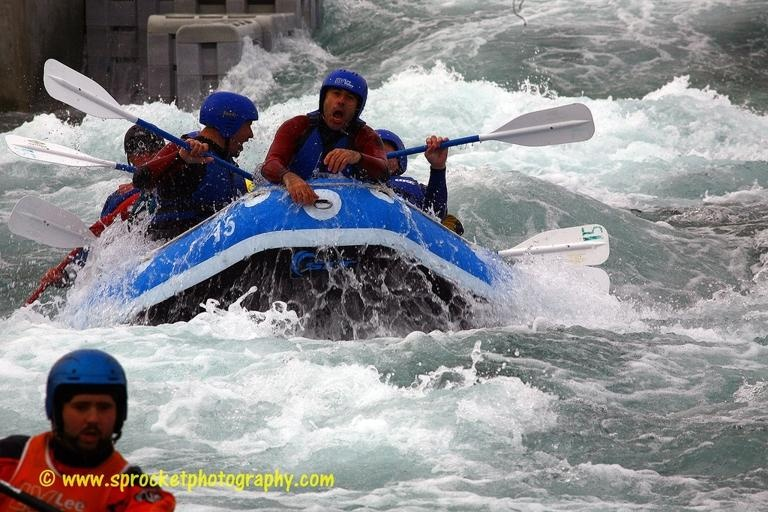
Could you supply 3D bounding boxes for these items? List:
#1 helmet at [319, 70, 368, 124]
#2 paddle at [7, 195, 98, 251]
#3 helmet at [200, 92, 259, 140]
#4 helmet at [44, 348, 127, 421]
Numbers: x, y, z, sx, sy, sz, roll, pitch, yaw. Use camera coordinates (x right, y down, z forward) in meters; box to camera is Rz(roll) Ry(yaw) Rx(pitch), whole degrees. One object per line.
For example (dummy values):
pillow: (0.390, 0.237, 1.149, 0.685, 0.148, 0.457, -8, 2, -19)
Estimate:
helmet: (-0.378, -1.569, 8.988, 0.414, 0.410, 0.482, 10, -27, 6)
paddle: (-3.307, -0.319, 9.629, 0.992, 0.339, 0.142, 20, -1, -22)
helmet: (-1.516, -1.393, 9.384, 0.580, 0.387, 0.378, 16, 15, -26)
helmet: (-1.919, 0.849, 6.367, 0.450, 0.424, 0.523, 4, -25, -12)
